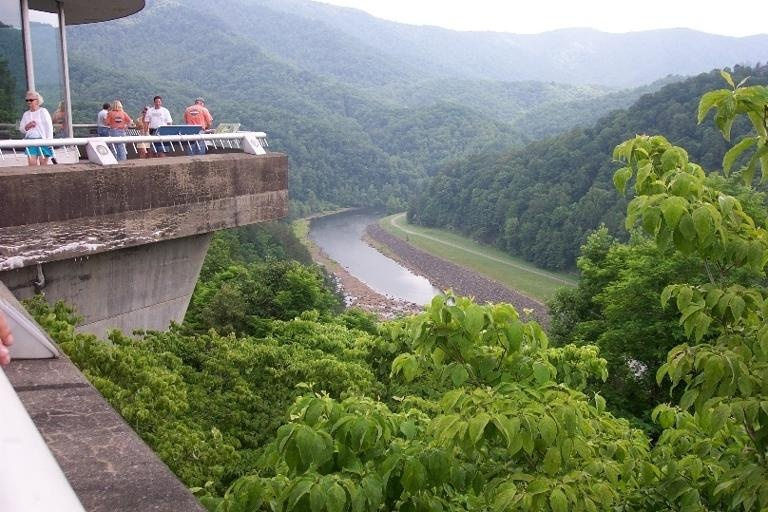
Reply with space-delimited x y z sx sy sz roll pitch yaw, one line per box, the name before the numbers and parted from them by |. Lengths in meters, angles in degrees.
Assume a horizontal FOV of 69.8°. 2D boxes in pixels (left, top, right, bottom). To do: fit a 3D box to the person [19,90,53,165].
person | -6.321 -2.297 9.960 0.474 1.183 1.484 -2 20 -32
